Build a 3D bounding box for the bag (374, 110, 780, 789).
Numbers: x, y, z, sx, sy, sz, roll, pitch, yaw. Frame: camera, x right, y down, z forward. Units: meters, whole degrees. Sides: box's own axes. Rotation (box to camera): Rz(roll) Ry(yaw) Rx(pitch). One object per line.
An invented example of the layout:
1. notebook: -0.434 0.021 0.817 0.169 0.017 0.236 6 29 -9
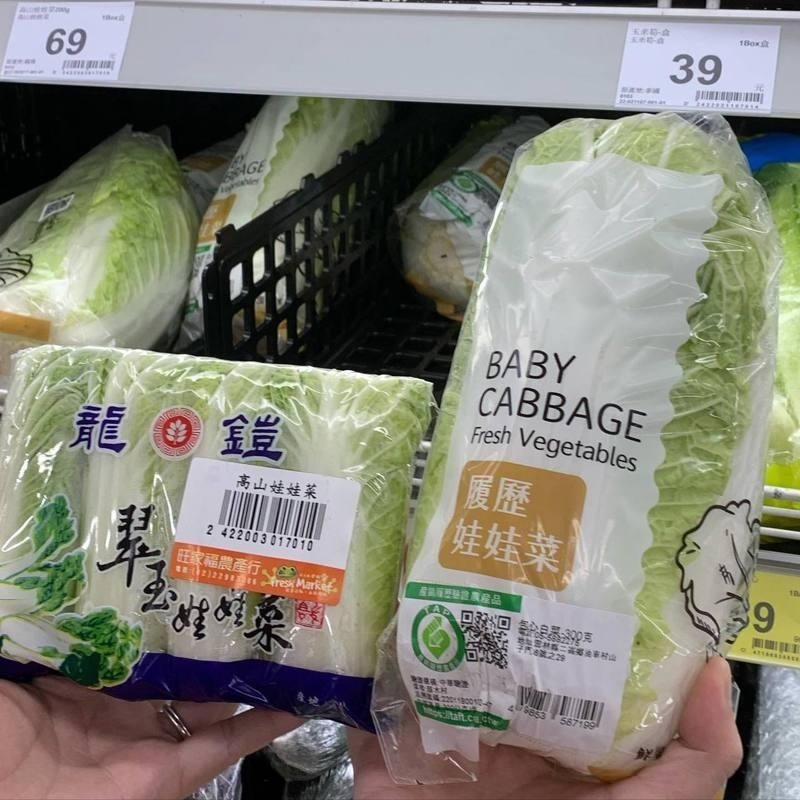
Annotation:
1. bag: 0.161 0.028 0.639 0.239 0.574 0.182 10 -11 20
